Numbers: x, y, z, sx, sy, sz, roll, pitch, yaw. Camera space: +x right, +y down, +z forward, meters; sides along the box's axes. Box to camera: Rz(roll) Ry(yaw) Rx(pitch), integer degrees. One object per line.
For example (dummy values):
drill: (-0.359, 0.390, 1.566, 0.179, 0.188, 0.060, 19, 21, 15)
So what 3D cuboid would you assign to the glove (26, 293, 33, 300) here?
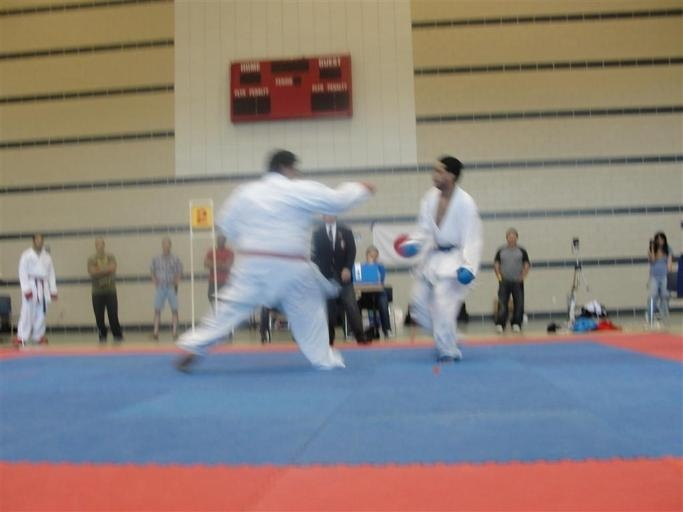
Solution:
glove: (-6.132, 0.782, 29.095, 0.096, 0.117, 0.105, 1, -4, -3)

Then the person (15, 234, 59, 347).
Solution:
person: (-6.058, 0.647, 29.262, 0.797, 2.138, 0.643, -3, 4, -38)

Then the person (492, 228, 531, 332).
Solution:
person: (3.305, 0.468, 29.443, 0.644, 1.989, 0.535, 0, 3, 6)

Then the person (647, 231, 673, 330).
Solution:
person: (6.229, 0.472, 29.445, 0.439, 1.816, 0.696, 0, 3, 13)

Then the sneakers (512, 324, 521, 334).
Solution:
sneakers: (3.394, 1.425, 29.345, 0.105, 0.135, 0.283, -3, -8, 8)

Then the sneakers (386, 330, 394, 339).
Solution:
sneakers: (0.892, 1.466, 28.436, 0.120, 0.137, 0.319, 0, 3, 13)

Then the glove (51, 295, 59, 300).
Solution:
glove: (-5.767, 0.820, 29.775, 0.100, 0.117, 0.106, 5, 15, 12)

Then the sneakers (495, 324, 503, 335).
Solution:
sneakers: (3.035, 1.436, 29.275, 0.108, 0.155, 0.148, -5, 5, -15)

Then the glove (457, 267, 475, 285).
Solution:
glove: (2.008, 0.324, 24.729, 0.182, 0.291, 0.243, -4, -1, -5)

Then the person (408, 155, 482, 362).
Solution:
person: (1.716, 0.024, 24.972, 1.175, 3.371, 0.665, 0, 3, 2)
